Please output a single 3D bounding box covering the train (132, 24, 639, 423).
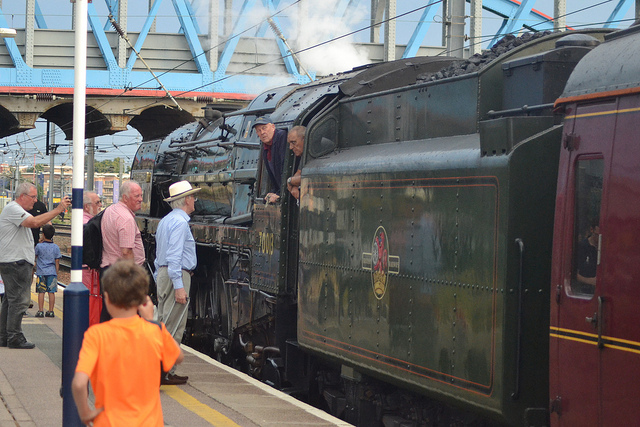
[{"bbox_3d":[0.875,0.127,11.391,3.452,4.253,10.933,1,0,-29],"label":"train"}]

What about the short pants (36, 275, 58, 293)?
[{"bbox_3d":[-5.558,1.432,14.775,0.273,0.386,0.671,1,2,4],"label":"short pants"}]

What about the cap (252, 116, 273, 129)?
[{"bbox_3d":[-0.859,-1.361,10.726,0.246,0.174,0.388,0,2,-13],"label":"cap"}]

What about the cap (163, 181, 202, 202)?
[{"bbox_3d":[-1.840,-0.297,9.722,0.364,0.262,0.306,0,2,-14],"label":"cap"}]

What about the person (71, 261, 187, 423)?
[{"bbox_3d":[-1.471,0.988,5.574,0.778,1.239,0.269,0,2,-20],"label":"person"}]
